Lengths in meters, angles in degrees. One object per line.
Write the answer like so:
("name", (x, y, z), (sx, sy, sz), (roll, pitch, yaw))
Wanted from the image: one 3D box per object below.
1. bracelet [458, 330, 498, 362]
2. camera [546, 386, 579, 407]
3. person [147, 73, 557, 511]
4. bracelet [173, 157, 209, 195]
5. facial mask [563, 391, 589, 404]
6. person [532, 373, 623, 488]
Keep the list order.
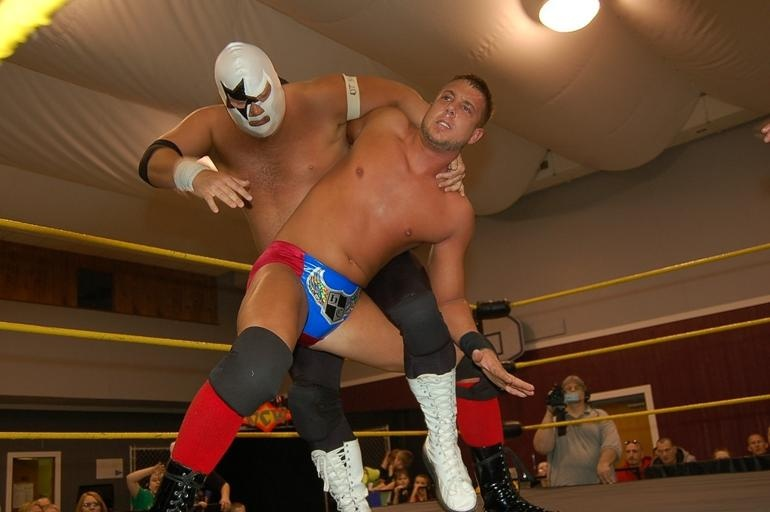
("bracelet", (0.443, 0.441, 2.745), (0.110, 0.073, 0.180), (-34, 15, -1))
("camera", (1.631, 1.302, 5.138), (0.191, 0.149, 0.341), (-9, -12, 40))
("person", (-0.111, 0.184, 2.627), (1.489, 1.956, 0.784), (-2, -23, -6))
("bracelet", (-0.840, -0.329, 2.405), (0.150, 0.117, 0.152), (22, -16, -30))
("facial mask", (1.836, 1.367, 5.355), (0.149, 0.117, 0.209), (-7, -28, 15))
("person", (1.751, 1.669, 5.086), (0.689, 1.224, 0.688), (-10, -46, 25))
